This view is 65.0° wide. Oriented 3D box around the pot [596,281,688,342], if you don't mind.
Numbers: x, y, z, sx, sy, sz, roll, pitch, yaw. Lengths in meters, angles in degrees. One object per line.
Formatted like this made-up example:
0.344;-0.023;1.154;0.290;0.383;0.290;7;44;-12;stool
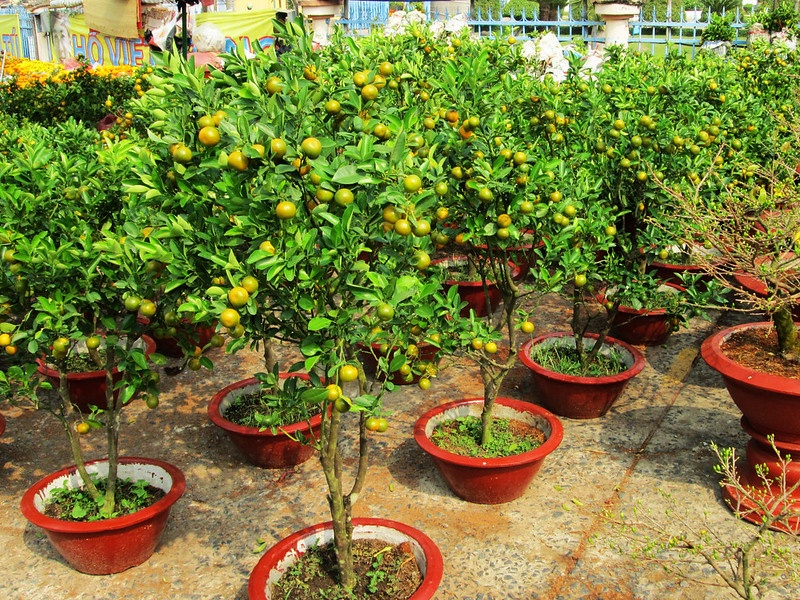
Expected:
2.399;0.127;6.221;0.771;0.291;0.702;0;11;0;pot

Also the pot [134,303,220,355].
-2.114;0.278;5.930;0.884;0.330;0.797;-1;14;-9;pot

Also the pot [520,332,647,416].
1.477;0.656;5.418;0.898;0.341;0.805;-2;22;-4;pot

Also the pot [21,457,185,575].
-1.833;1.365;3.979;0.939;0.565;0.578;-4;23;-15;pot

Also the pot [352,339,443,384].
0.006;0.381;3.952;0.551;0.178;0.497;-1;14;-2;pot
